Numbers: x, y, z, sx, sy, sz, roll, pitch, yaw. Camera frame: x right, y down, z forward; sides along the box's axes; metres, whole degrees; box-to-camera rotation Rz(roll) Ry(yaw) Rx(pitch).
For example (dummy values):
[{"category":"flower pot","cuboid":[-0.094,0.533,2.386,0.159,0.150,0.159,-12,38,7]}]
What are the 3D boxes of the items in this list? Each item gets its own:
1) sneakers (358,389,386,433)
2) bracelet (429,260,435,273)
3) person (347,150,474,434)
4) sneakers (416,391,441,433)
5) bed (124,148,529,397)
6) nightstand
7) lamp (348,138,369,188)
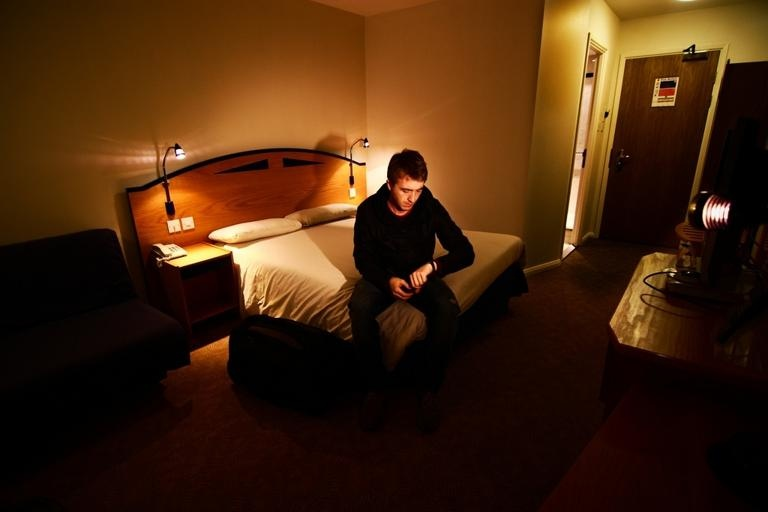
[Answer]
[{"category":"sneakers","cuboid":[-0.072,1.004,3.154,0.144,0.067,0.254,7,55,11]},{"category":"bracelet","cuboid":[0.334,0.068,3.404,0.017,0.060,0.045,2,8,-26]},{"category":"person","cuboid":[0.168,0.159,3.330,0.844,1.597,1.062,4,23,10]},{"category":"sneakers","cuboid":[0.295,1.012,3.164,0.159,0.060,0.234,1,64,3]},{"category":"bed","cuboid":[-0.624,0.088,3.848,2.254,1.286,2.427,13,28,32]},{"category":"nightstand","cuboid":[-1.517,0.314,3.937,0.526,0.746,0.522,15,26,32]},{"category":"lamp","cuboid":[-0.298,-1.081,5.615,0.265,0.713,0.104,-8,44,-8]}]
